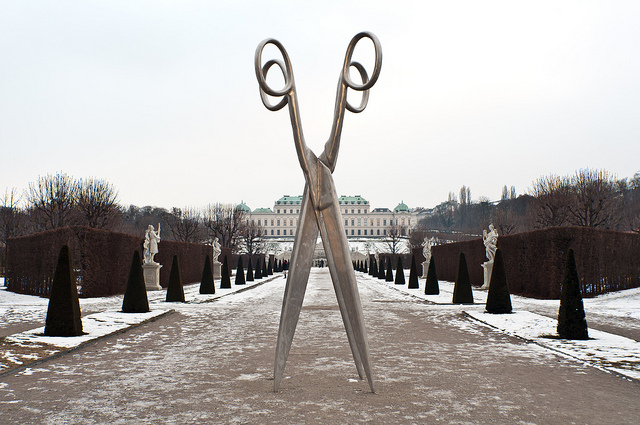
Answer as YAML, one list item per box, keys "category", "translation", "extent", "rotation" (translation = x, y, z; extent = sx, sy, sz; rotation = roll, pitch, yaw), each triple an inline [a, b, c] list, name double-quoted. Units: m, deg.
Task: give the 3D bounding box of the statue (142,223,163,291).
- category: "statue"
  translation: [-7.224, 1.919, 23.510]
  extent: [0.740, 2.814, 1.571]
  rotation: [1, -6, -18]
